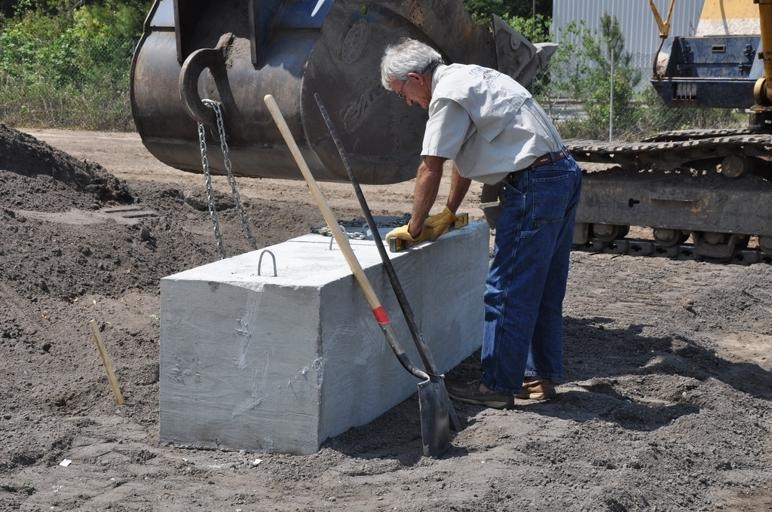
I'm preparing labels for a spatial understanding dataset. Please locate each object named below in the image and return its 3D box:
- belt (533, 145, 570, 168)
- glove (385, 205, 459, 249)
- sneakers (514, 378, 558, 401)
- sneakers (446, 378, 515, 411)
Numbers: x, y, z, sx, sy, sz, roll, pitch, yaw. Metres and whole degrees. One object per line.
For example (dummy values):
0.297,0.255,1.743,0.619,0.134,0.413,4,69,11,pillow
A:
1.311,-0.777,9.727,0.185,0.054,0.196,-23,6,-26,belt
0.379,-0.243,10.093,0.239,0.243,0.800,16,25,42,glove
1.226,1.086,10.048,0.320,0.149,0.160,1,0,17,sneakers
0.770,1.130,10.085,0.592,0.258,0.219,11,4,21,sneakers
